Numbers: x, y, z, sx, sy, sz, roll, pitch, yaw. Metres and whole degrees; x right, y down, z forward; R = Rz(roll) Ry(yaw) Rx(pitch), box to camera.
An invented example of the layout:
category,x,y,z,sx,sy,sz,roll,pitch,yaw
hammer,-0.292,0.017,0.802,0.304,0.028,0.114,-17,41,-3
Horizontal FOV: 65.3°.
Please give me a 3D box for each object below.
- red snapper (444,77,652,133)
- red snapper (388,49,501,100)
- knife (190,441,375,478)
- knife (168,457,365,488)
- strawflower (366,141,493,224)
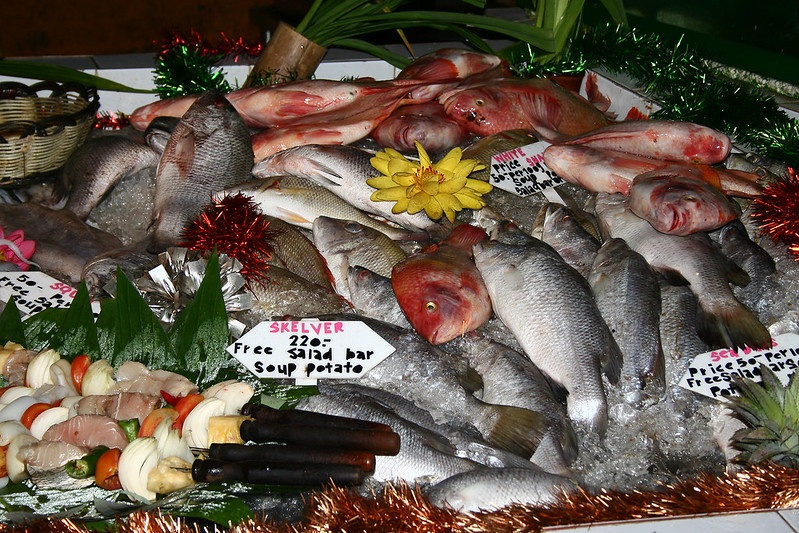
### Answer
category,x,y,z,sx,sy,sz,roll,pitch,yaw
red snapper,0.614,-0.679,2.621,0.780,0.196,0.312,3,51,-12
red snapper,0.211,-0.878,2.740,0.417,0.086,0.266,-26,22,-26
knife,-0.289,0.503,1.614,0.418,0.069,0.067,3,17,4
knife,-0.338,0.529,1.607,0.416,0.048,0.057,3,31,0
strawflower,0.114,-0.281,2.179,0.348,0.103,0.323,-2,27,-22
